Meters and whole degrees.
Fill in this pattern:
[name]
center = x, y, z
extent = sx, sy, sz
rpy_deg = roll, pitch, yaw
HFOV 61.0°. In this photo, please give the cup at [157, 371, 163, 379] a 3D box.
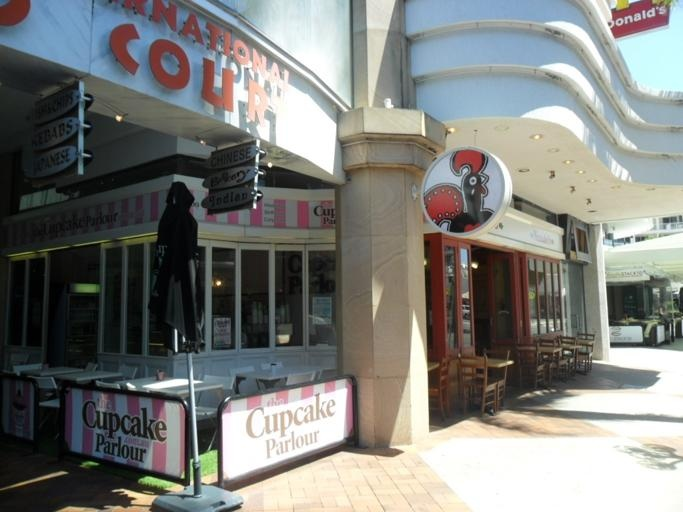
[cup]
center = -3.144, 2.084, 9.997
extent = 0.086, 0.143, 0.117
rpy_deg = 0, -1, -28
